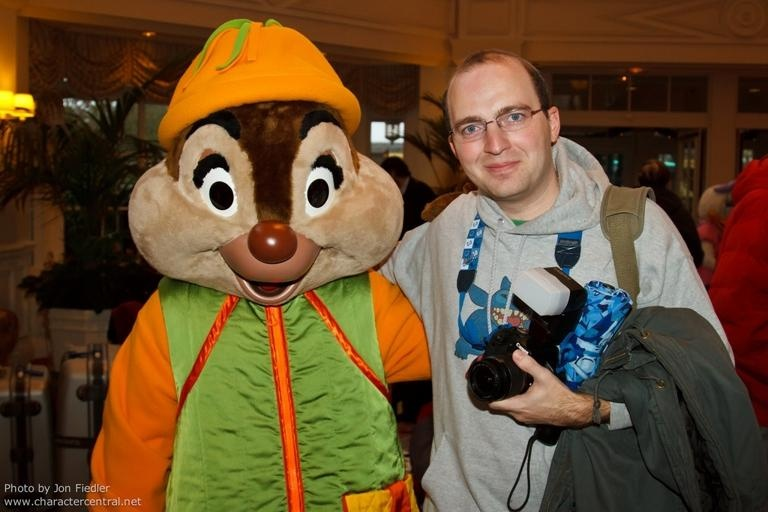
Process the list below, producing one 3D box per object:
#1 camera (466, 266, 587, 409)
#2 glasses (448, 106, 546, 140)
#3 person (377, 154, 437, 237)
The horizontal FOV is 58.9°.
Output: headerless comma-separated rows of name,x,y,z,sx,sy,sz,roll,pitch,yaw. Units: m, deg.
camera,0.472,0.279,2.343,0.274,0.474,0.303,19,18,10
glasses,0.414,-0.478,2.486,0.322,0.074,0.062,-2,1,8
person,0.245,-0.650,6.869,0.679,0.793,0.290,-1,-11,-19
